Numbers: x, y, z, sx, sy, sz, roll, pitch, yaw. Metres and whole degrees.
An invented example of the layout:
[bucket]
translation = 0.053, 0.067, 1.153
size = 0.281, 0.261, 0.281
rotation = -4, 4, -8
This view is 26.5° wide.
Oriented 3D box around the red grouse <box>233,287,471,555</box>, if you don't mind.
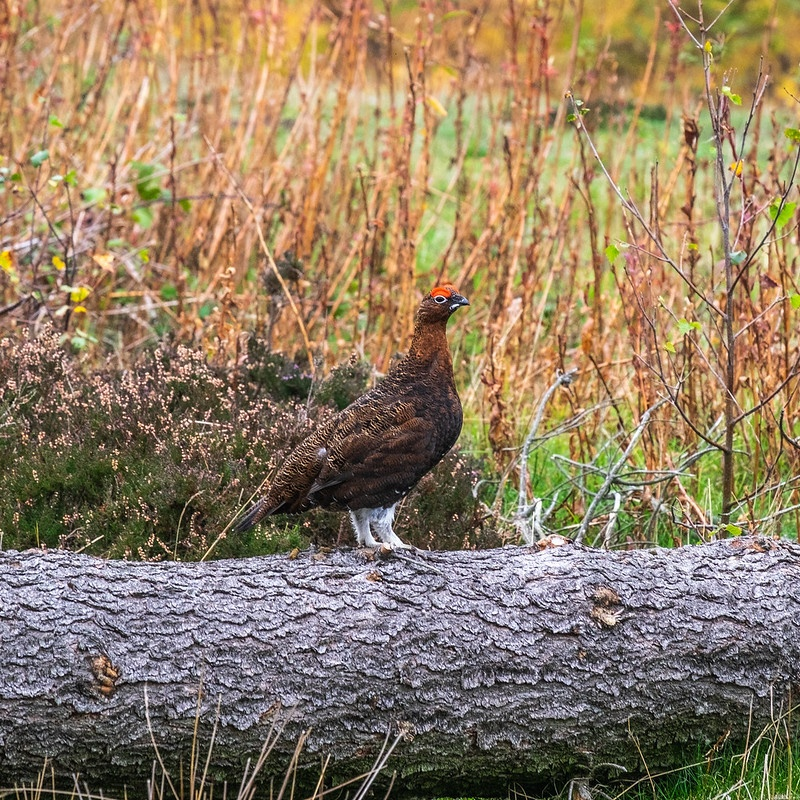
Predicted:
[red grouse]
translation = -0.146, 0.081, 7.892
size = 0.928, 1.203, 0.422
rotation = 2, 8, -14
